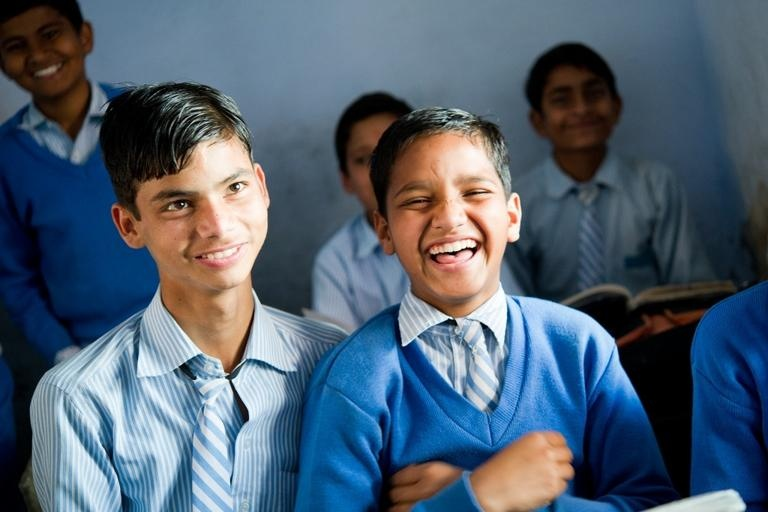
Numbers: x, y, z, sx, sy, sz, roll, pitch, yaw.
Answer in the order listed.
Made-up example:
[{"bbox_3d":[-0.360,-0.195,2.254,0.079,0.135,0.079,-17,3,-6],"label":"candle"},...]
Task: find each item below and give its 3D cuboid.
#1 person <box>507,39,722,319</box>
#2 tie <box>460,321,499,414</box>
[{"bbox_3d":[0.654,-0.196,2.135,0.639,0.853,0.291,-12,38,11],"label":"person"},{"bbox_3d":[0.201,0.228,1.583,0.077,0.178,0.041,-5,-10,0],"label":"tie"}]
